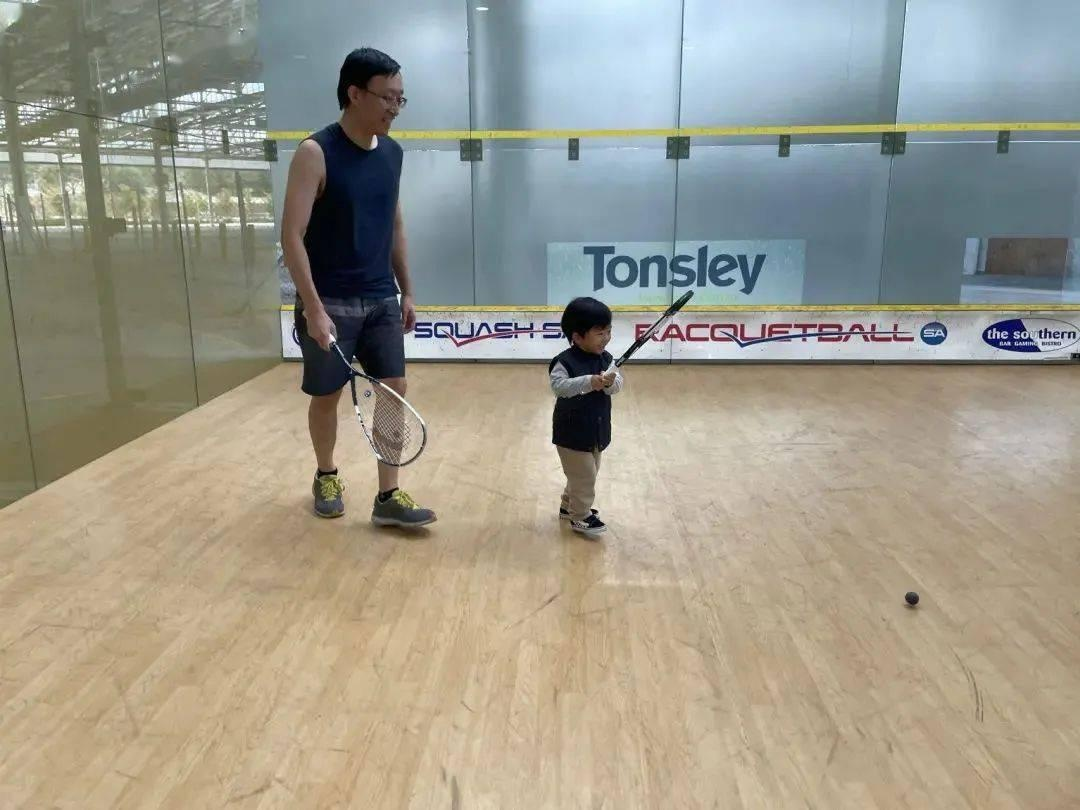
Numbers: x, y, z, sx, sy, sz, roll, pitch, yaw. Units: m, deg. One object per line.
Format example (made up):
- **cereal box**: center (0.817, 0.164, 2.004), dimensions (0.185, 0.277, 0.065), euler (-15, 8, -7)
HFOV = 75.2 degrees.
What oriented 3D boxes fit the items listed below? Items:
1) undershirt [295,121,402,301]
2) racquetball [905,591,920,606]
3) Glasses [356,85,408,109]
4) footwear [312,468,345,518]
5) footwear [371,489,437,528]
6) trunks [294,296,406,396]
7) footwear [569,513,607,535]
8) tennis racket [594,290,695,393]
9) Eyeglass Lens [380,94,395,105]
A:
- **undershirt**: center (-0.861, -0.891, 3.306), dimensions (0.367, 0.778, 0.445), euler (20, 23, 36)
- **racquetball**: center (1.494, 0.774, 2.805), dimensions (0.046, 0.048, 0.081), euler (13, 20, 38)
- **Glasses**: center (-0.691, -1.312, 3.015), dimensions (0.164, 0.051, 0.157), euler (40, 30, 21)
- **footwear**: center (-1.083, 0.468, 3.591), dimensions (0.101, 0.135, 0.279), euler (-1, 15, -15)
- **footwear**: center (-0.686, 0.525, 3.512), dimensions (0.342, 0.203, 0.145), euler (2, 7, 3)
- **trunks**: center (-0.913, -0.326, 3.426), dimensions (0.490, 0.496, 0.283), euler (-12, 29, -33)
- **footwear**: center (0.238, 0.591, 3.455), dimensions (0.187, 0.099, 0.076), euler (-1, 1, 21)
- **tennis racket**: center (0.900, -0.527, 5.742), dimensions (0.129, 0.322, 1.198), euler (37, 71, 12)
- **Eyeglass Lens**: center (-0.653, -1.300, 3.019), dimensions (0.065, 0.033, 0.013), euler (-7, 17, -23)
